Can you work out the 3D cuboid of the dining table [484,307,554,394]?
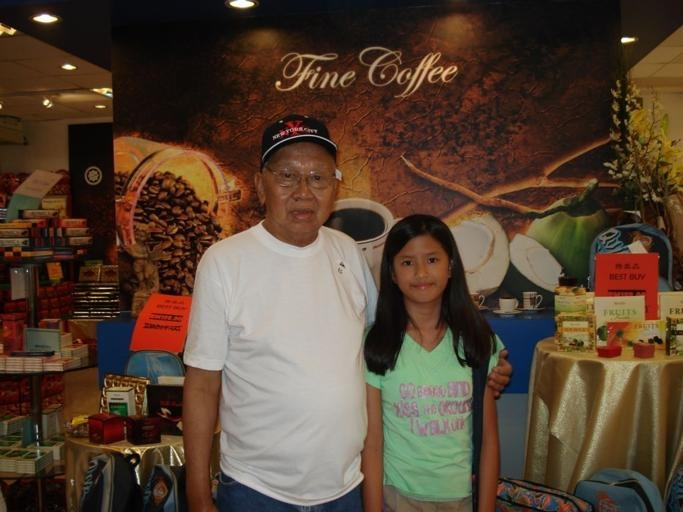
[{"bbox_3d":[1.366,0.689,4.318,0.543,0.620,0.398,3,7,11],"label":"dining table"}]

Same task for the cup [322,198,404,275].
[{"bbox_3d":[0.174,-0.175,4.255,0.604,0.561,0.337,-1,8,-3],"label":"cup"}]
